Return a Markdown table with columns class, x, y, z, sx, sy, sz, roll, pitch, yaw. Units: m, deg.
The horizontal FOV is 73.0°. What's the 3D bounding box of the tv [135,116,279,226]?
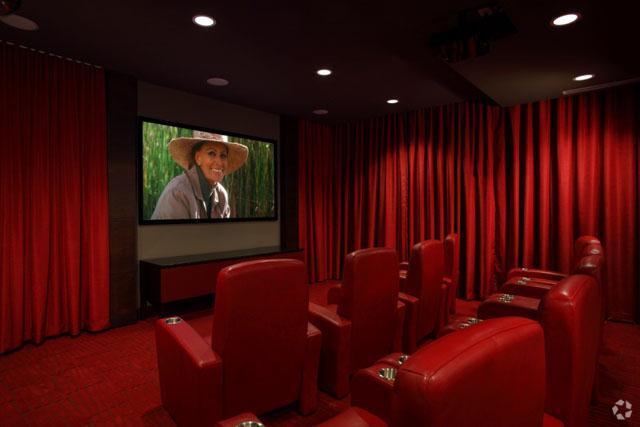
| class | x | y | z | sx | sy | sz | roll | pitch | yaw |
| --- | --- | --- | --- | --- | --- | --- | --- | --- | --- |
| tv | -1.533 | -0.550 | 5.597 | 0.042 | 0.930 | 1.585 | -2 | -2 | 44 |
